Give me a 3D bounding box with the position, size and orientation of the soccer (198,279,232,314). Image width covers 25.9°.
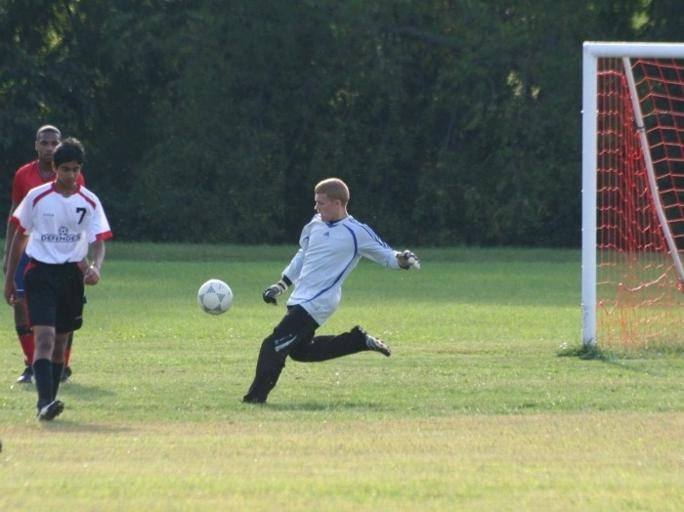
[{"bbox_3d":[-2.152,0.723,25.455,0.552,0.606,0.397,4,0,-5],"label":"soccer"}]

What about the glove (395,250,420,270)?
[{"bbox_3d":[1.025,0.034,22.705,0.404,0.239,0.145,16,38,42],"label":"glove"}]

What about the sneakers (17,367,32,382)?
[{"bbox_3d":[-4.976,1.916,23.560,0.120,0.263,0.254,28,-4,-30],"label":"sneakers"}]

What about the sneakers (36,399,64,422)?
[{"bbox_3d":[-4.266,2.330,22.117,0.490,0.179,0.235,-26,2,32],"label":"sneakers"}]
